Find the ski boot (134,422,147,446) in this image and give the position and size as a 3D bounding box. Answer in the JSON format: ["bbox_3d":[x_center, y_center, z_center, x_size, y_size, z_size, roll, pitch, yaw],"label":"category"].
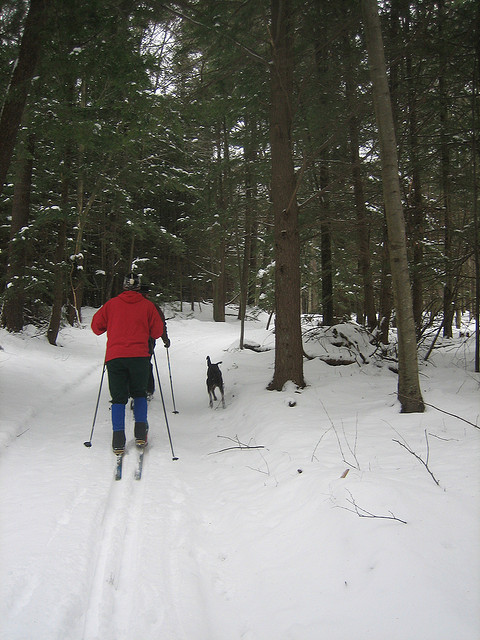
[{"bbox_3d":[-1.105,1.264,5.773,0.101,0.292,0.124,1,-20,-8],"label":"ski boot"}]

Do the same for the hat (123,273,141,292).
[{"bbox_3d":[-1.356,-0.471,6.399,0.184,0.240,0.240,2,14,-5],"label":"hat"}]

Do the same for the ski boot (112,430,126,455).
[{"bbox_3d":[-1.283,1.299,5.510,0.135,0.226,0.225,2,31,-6],"label":"ski boot"}]
